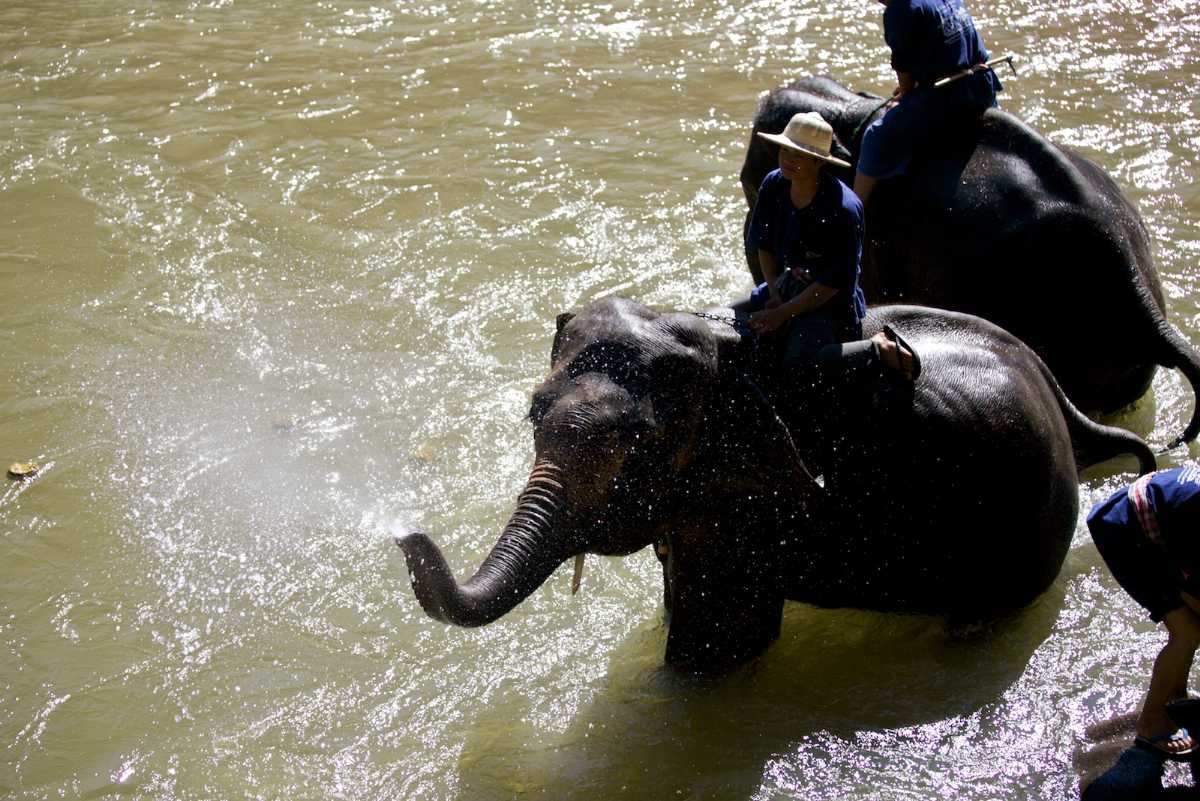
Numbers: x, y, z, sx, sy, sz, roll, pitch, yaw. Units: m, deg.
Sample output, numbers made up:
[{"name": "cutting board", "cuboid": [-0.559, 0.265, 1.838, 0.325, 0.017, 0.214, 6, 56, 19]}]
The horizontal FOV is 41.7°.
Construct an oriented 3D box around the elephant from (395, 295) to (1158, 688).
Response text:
[{"name": "elephant", "cuboid": [0.871, 0.351, 7.240, 3.027, 1.570, 1.134, -12, 49, -5]}]
